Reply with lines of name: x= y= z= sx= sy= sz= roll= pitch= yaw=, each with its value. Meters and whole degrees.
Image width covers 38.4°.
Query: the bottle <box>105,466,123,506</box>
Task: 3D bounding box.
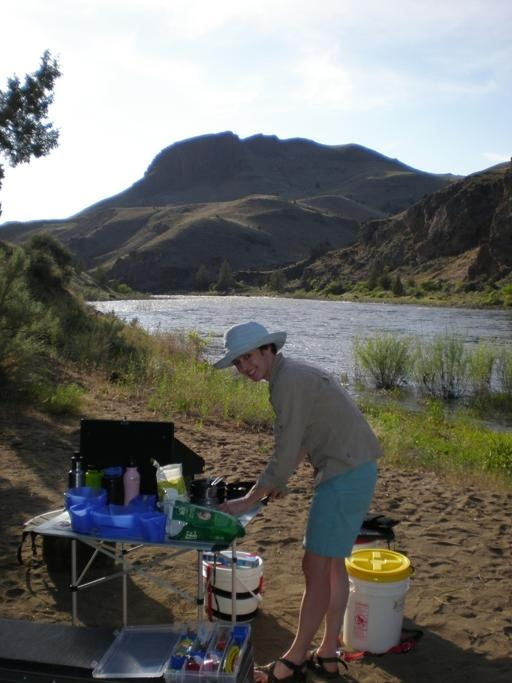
bottle: x=-0.831 y=0.833 z=4.256 sx=0.126 sy=0.217 sz=0.209 roll=4 pitch=-1 yaw=-10

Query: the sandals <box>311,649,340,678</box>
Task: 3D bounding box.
sandals: x=0.370 y=1.807 z=4.138 sx=0.097 sy=0.090 sz=0.250 roll=4 pitch=-5 yaw=-19

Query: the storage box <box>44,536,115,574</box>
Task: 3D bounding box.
storage box: x=-1.380 y=1.567 z=5.550 sx=0.352 sy=0.272 sz=0.327 roll=0 pitch=0 yaw=1

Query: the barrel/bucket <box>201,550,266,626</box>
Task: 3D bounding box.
barrel/bucket: x=-0.057 y=1.581 z=4.751 sx=0.569 sy=0.405 sz=0.519 roll=5 pitch=-14 yaw=1

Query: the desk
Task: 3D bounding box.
desk: x=-0.714 y=1.265 z=4.346 sx=1.166 sy=0.684 sz=1.184 roll=0 pitch=-11 yaw=0

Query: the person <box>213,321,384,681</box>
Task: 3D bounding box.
person: x=0.214 y=0.867 z=3.890 sx=0.842 sy=1.878 sz=0.326 roll=4 pitch=0 yaw=7

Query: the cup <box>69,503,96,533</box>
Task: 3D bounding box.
cup: x=-0.913 y=0.925 z=3.835 sx=0.134 sy=0.139 sz=0.139 roll=-2 pitch=-9 yaw=0

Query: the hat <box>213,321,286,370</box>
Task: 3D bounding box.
hat: x=-0.034 y=-0.013 z=3.891 sx=0.315 sy=0.114 sz=0.279 roll=-24 pitch=-8 yaw=-43

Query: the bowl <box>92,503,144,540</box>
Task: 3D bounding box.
bowl: x=-0.727 y=0.939 z=3.810 sx=0.264 sy=0.169 sz=0.290 roll=3 pitch=-1 yaw=0

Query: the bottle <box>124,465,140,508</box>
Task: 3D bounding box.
bottle: x=-0.727 y=0.830 z=4.252 sx=0.096 sy=0.229 sz=0.182 roll=4 pitch=-1 yaw=-10

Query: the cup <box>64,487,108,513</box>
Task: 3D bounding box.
cup: x=-0.940 y=0.857 z=4.001 sx=0.147 sy=0.105 sz=0.167 roll=3 pitch=-10 yaw=-7

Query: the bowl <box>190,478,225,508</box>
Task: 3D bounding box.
bowl: x=-0.266 y=0.829 z=4.032 sx=0.156 sy=0.133 sz=0.147 roll=0 pitch=-7 yaw=0

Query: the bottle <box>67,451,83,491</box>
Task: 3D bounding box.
bottle: x=-1.108 y=0.801 z=4.511 sx=0.077 sy=0.239 sz=0.408 roll=4 pitch=-1 yaw=-15
